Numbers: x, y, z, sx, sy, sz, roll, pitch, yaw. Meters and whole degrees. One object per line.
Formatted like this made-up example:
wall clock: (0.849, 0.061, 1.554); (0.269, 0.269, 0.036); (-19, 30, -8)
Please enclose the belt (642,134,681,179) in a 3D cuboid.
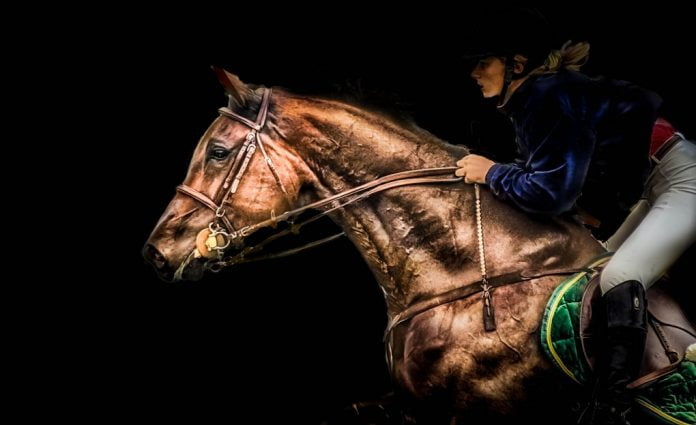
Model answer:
belt: (1.251, -0.221, 3.438); (0.041, 0.142, 0.104); (39, 9, -6)
